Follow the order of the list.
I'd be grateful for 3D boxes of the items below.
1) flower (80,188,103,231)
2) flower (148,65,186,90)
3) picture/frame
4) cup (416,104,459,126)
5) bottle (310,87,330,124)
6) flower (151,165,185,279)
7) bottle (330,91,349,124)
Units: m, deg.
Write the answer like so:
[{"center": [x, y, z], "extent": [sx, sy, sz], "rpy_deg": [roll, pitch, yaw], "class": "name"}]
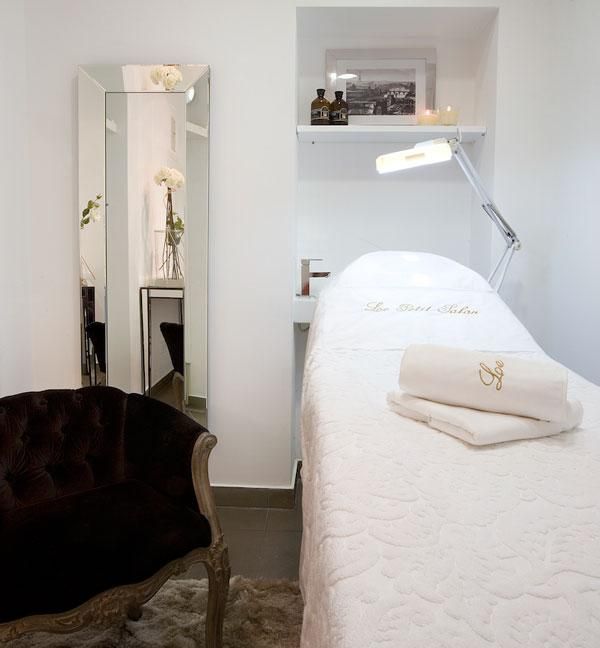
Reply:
[{"center": [-0.866, -0.477, 2.392], "extent": [0.075, 0.136, 0.032], "rpy_deg": [37, 10, 2], "class": "flower"}, {"center": [-0.545, -1.012, 2.342], "extent": [0.087, 0.081, 0.102], "rpy_deg": [7, 25, 12], "class": "flower"}, {"center": [0.371, -1.109, 2.651], "extent": [0.347, 0.318, 0.017], "rpy_deg": [0, 0, -1], "class": "picture/frame"}, {"center": [0.611, -0.926, 2.577], "extent": [0.134, 0.079, 0.131], "rpy_deg": [-1, 9, 0], "class": "cup"}, {"center": [0.078, -0.962, 2.553], "extent": [0.112, 0.157, 0.101], "rpy_deg": [5, 11, 24], "class": "bottle"}, {"center": [-0.533, -0.413, 2.391], "extent": [0.100, 0.447, 0.036], "rpy_deg": [1, 9, 1], "class": "flower"}, {"center": [0.194, -0.963, 2.577], "extent": [0.074, 0.146, 0.147], "rpy_deg": [7, 11, 32], "class": "bottle"}]
